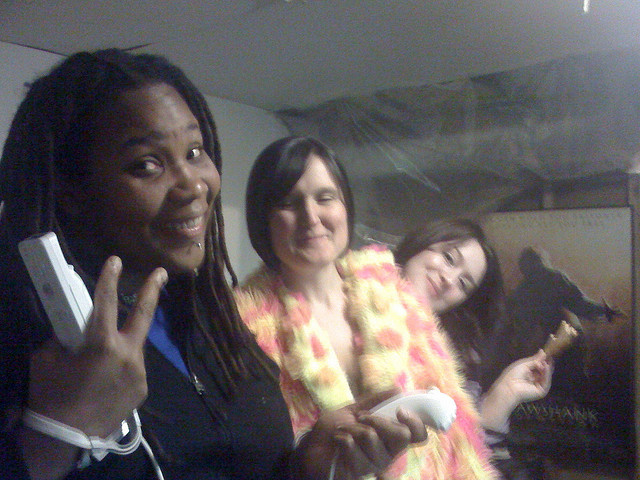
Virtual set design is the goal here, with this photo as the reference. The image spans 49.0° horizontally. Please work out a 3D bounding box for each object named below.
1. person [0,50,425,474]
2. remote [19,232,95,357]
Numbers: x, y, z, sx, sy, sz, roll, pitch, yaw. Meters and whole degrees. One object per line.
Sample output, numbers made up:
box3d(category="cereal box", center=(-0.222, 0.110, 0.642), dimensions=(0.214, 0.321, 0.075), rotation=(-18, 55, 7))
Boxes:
box3d(category="person", center=(-0.603, -0.014, 2.668), dimensions=(1.144, 1.396, 0.492), rotation=(5, 19, 1))
box3d(category="remote", center=(-0.888, 0.168, 2.285), dimensions=(0.089, 0.314, 0.351), rotation=(-15, 13, -1))
